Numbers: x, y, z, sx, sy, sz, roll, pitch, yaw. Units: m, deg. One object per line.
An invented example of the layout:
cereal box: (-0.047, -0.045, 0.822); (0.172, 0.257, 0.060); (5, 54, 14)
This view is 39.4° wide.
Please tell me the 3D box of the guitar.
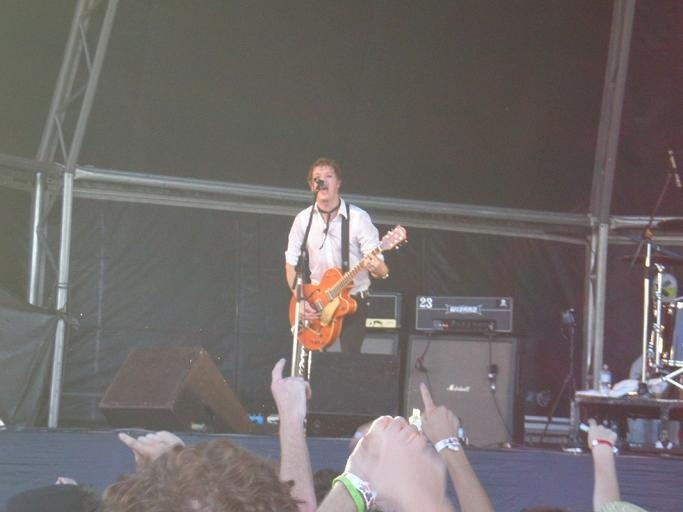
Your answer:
guitar: (-0.077, 0.227, 7.118); (1.169, 0.580, 0.172); (-42, -28, 22)

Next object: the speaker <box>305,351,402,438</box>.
speaker: (0.065, 0.912, 6.274); (0.524, 0.512, 0.248); (1, 6, 2)
